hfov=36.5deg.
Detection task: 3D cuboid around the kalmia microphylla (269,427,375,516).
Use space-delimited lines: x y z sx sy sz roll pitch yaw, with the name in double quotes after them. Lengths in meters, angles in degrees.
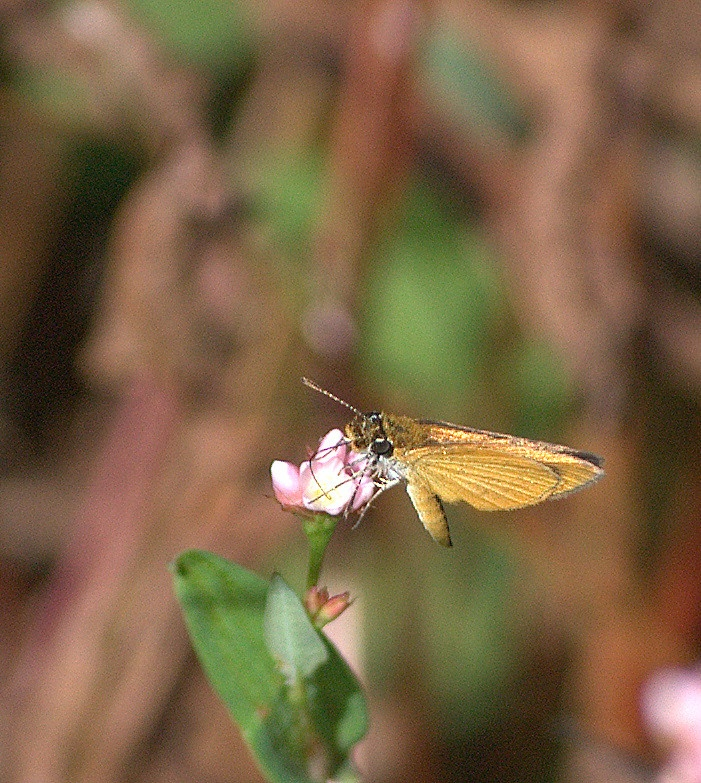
-0.045 0.144 1.716 0.151 0.094 0.129 -34 82 -4 "kalmia microphylla"
